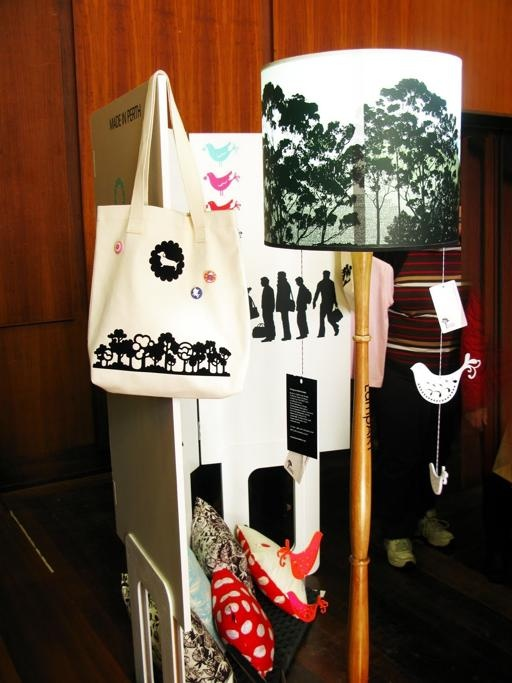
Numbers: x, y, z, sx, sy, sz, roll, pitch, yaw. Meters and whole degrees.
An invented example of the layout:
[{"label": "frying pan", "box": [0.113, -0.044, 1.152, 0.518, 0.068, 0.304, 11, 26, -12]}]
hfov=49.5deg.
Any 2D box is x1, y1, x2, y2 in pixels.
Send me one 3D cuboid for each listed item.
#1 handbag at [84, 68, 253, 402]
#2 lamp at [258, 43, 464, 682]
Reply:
[{"label": "handbag", "box": [-0.162, -0.184, 0.973, 0.339, 0.565, 0.154, 6, 9, 39]}, {"label": "lamp", "box": [0.195, 0.153, 1.006, 0.364, 1.242, 0.314, 0, 7, -2]}]
